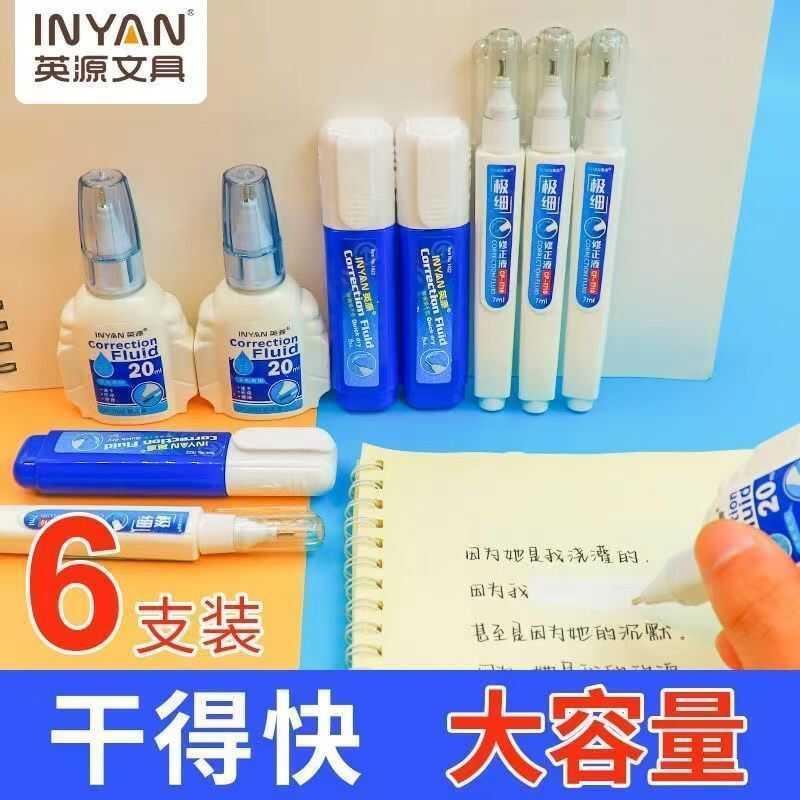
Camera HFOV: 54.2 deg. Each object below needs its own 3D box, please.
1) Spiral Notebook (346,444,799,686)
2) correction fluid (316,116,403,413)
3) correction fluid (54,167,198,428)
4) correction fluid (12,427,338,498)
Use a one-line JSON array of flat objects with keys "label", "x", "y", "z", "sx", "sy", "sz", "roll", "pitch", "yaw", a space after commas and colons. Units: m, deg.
[{"label": "Spiral Notebook", "x": 0.094, "y": 0.103, "z": 0.534, "sx": 0.198, "sy": 0.033, "sz": 0.163, "roll": 1, "pitch": 41, "yaw": 2}, {"label": "correction fluid", "x": -0.032, "y": -0.096, "z": 0.639, "sx": 0.060, "sy": 0.247, "sz": 0.031, "roll": -1, "pitch": 26, "yaw": -5}, {"label": "correction fluid", "x": -0.223, "y": -0.077, "z": 0.647, "sx": 0.094, "sy": 0.213, "sz": 0.035, "roll": -7, "pitch": 27, "yaw": -15}, {"label": "correction fluid", "x": -0.177, "y": 0.050, "z": 0.622, "sx": 0.249, "sy": 0.044, "sz": 0.042, "roll": 2, "pitch": 27, "yaw": 0}]
